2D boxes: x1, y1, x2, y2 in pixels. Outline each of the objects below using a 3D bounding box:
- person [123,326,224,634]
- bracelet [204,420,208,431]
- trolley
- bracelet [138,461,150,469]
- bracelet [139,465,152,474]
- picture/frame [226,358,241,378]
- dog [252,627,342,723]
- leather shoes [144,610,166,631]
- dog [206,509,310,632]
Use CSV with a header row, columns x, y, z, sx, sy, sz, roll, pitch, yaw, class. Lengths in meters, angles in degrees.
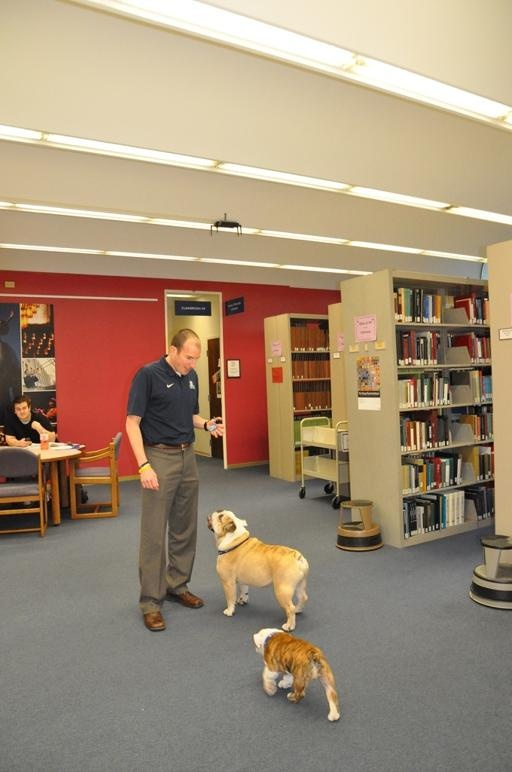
x,y,z,sx,sy,sz,roll,pitch,yaw,class
-0.501,0.542,3.374,0.413,1.368,0.614,-2,-1,7,person
-0.308,0.253,3.527,0.021,0.056,0.045,-1,-4,-29,bracelet
0.927,0.862,6.808,0.602,1.017,0.845,0,-2,40,trolley
-0.639,0.445,3.140,0.040,0.029,0.039,-30,10,-30,bracelet
-0.615,0.462,3.129,0.066,0.031,0.054,-25,6,-23,bracelet
-0.418,-0.321,9.880,0.326,0.411,0.031,-2,2,-38,picture/frame
0.197,1.223,2.385,0.221,0.320,0.416,-2,-1,-35,dog
-0.590,1.361,3.243,0.060,0.072,0.163,2,-8,-19,leather shoes
-0.004,1.064,3.274,0.620,0.574,0.258,4,2,29,dog
